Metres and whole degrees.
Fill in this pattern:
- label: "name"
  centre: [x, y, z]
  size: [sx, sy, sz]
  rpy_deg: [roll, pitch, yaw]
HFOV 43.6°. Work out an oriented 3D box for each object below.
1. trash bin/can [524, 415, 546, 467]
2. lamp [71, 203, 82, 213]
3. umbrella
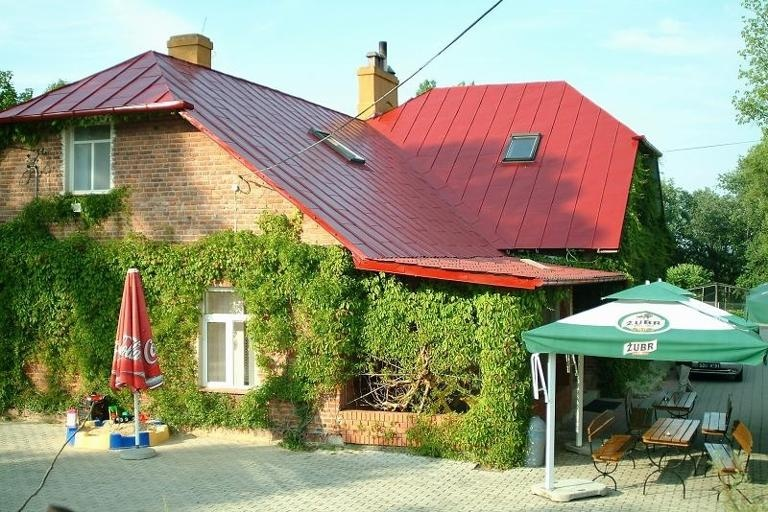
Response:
- label: "trash bin/can"
  centre: [3.568, 4.416, 22.681]
  size: [0.470, 1.100, 0.453]
  rpy_deg: [2, 12, 8]
- label: "lamp"
  centre: [-8.356, -1.306, 26.084]
  size: [0.248, 0.263, 0.068]
  rpy_deg: [-3, 7, 18]
- label: "umbrella"
  centre: [-6.044, 2.607, 23.329]
  size: [1.147, 4.357, 1.550]
  rpy_deg: [-5, 14, -24]
